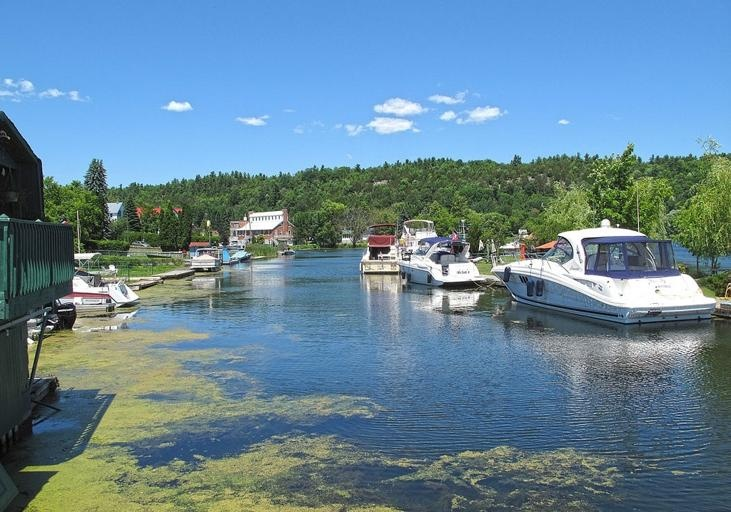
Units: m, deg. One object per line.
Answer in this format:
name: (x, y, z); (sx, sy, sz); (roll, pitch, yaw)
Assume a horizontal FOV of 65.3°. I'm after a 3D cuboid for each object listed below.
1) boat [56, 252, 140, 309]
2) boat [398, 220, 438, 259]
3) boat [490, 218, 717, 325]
boat: (-13.649, 1.339, 29.383); (4.306, 1.719, 2.844); (0, 5, 0)
boat: (5.275, -1.931, 57.967); (4.441, 3.985, 8.162); (-1, 0, -1)
boat: (10.050, 0.830, 25.075); (3.982, 2.709, 7.659); (0, 4, -20)
